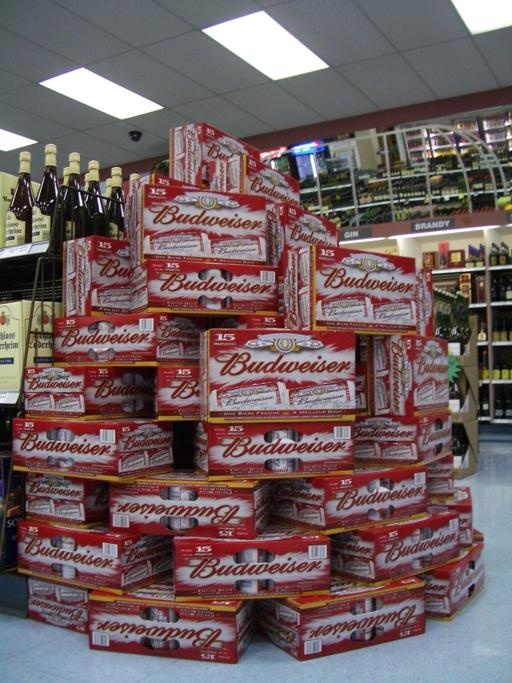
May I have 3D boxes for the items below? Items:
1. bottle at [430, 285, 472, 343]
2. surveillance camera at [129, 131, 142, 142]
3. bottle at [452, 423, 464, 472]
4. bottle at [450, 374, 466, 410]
[{"bbox_3d":[1.382,-0.179,4.257,0.217,0.373,0.402,-3,-2,27],"label":"bottle"},{"bbox_3d":[-1.473,-2.523,7.287,0.105,0.071,0.083,-3,0,3],"label":"surveillance camera"},{"bbox_3d":[1.450,0.741,4.276,0.085,0.309,0.139,-4,-3,26],"label":"bottle"},{"bbox_3d":[1.422,0.351,4.226,0.090,0.265,0.190,-4,-3,32],"label":"bottle"}]
